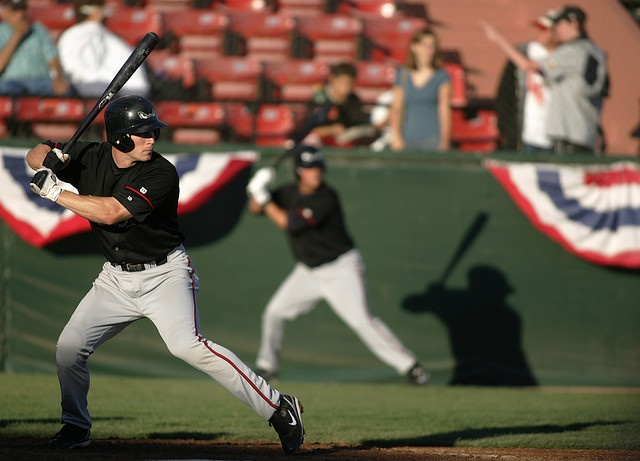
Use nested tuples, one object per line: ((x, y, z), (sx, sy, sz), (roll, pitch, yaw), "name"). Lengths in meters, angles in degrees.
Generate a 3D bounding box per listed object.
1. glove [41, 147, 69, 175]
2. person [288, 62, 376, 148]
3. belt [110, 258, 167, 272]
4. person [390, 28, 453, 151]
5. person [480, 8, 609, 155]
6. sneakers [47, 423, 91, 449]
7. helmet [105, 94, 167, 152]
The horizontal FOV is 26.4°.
((-2.325, -0.631, 12.071), (0.279, 0.165, 0.193), (0, -12, 2), "glove")
((0.140, -1.313, 14.579), (0.887, 0.930, 0.573), (-4, 36, -10), "person")
((-1.549, 0.304, 12.098), (0.401, 0.092, 0.075), (-4, 35, -11), "belt")
((1.097, -1.495, 14.586), (0.639, 1.108, 0.788), (4, 35, 1), "person")
((2.644, -1.628, 14.654), (0.878, 1.241, 1.311), (-11, 35, -18), "person")
((-2.210, 1.828, 12.138), (0.411, 0.140, 0.166), (3, -7, -8), "sneakers")
((-1.683, -0.944, 12.049), (0.623, 0.377, 0.500), (7, 14, 26), "helmet")
